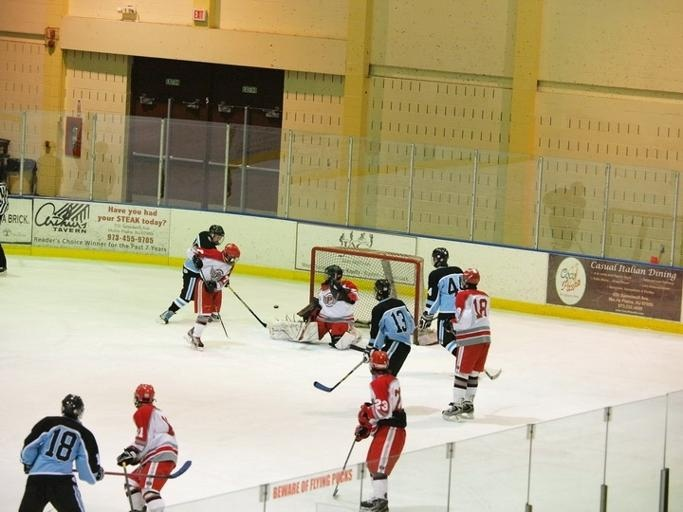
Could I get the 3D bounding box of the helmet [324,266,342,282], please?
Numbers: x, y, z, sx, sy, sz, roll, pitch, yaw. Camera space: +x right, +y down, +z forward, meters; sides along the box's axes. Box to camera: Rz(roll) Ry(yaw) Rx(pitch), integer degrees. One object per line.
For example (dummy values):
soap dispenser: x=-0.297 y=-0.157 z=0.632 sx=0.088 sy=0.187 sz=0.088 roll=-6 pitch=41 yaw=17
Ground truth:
helmet: x=-0.100 y=0.236 z=18.349 sx=0.236 sy=0.225 sz=0.261 roll=4 pitch=3 yaw=-6

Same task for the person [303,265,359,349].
person: x=-0.144 y=0.747 z=18.570 sx=0.894 sy=1.262 sz=0.659 roll=4 pitch=3 yaw=3

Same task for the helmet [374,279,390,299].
helmet: x=0.541 y=0.411 z=16.075 sx=0.190 sy=0.248 sz=0.234 roll=-4 pitch=6 yaw=-38

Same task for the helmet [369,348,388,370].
helmet: x=0.440 y=1.164 z=14.131 sx=0.172 sy=0.176 sz=0.228 roll=1 pitch=24 yaw=-1

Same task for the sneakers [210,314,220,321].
sneakers: x=-2.013 y=0.938 z=19.682 sx=0.137 sy=0.070 sz=0.194 roll=2 pitch=8 yaw=0

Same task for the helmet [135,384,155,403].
helmet: x=-2.154 y=1.493 z=13.589 sx=0.166 sy=0.207 sz=0.215 roll=1 pitch=4 yaw=-16

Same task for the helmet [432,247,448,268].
helmet: x=1.434 y=0.010 z=17.515 sx=0.212 sy=0.262 sz=0.274 roll=1 pitch=5 yaw=-15

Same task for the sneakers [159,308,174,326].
sneakers: x=-2.711 y=0.934 z=19.242 sx=0.262 sy=0.163 sz=0.104 roll=-13 pitch=-23 yaw=10

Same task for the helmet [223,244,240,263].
helmet: x=-1.617 y=-0.062 z=18.220 sx=0.222 sy=0.253 sz=0.533 roll=4 pitch=3 yaw=-3

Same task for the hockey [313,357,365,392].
hockey: x=-0.038 y=1.601 z=16.000 sx=0.555 sy=0.162 sz=0.554 roll=-43 pitch=-1 yaw=-31

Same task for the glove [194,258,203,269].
glove: x=-2.097 y=0.086 z=18.058 sx=0.139 sy=0.178 sz=0.125 roll=3 pitch=3 yaw=-24

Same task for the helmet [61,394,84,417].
helmet: x=-2.849 y=1.587 z=13.175 sx=0.196 sy=0.237 sz=0.239 roll=2 pitch=22 yaw=-5

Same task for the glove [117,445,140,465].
glove: x=-2.289 y=2.146 z=13.408 sx=0.225 sy=0.188 sz=0.098 roll=-22 pitch=4 yaw=9

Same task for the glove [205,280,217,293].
glove: x=-1.883 y=0.435 z=18.099 sx=0.125 sy=0.164 sz=0.165 roll=14 pitch=-13 yaw=11

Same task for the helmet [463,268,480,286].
helmet: x=1.724 y=0.261 z=16.203 sx=0.177 sy=0.219 sz=0.234 roll=-1 pitch=15 yaw=-13

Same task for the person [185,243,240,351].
person: x=-1.885 y=0.568 z=18.130 sx=0.641 sy=1.539 sz=0.379 roll=4 pitch=3 yaw=-6

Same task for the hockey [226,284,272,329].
hockey: x=-1.394 y=0.831 z=19.282 sx=0.242 sy=0.298 sz=1.524 roll=35 pitch=-7 yaw=24
